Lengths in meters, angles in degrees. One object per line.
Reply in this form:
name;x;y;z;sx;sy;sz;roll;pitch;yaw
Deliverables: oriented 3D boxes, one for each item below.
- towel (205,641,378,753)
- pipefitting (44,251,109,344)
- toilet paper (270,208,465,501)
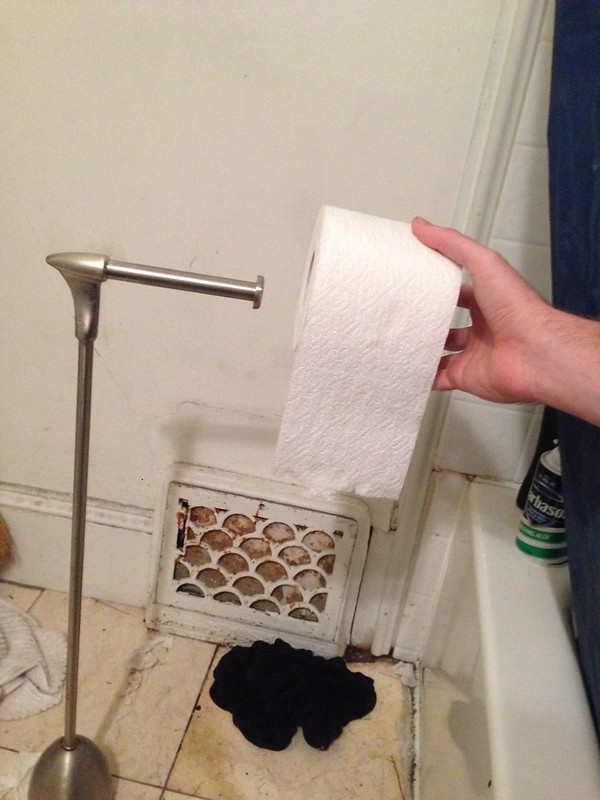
towel;-0.021;0.421;1.208;0.245;0.044;0.222;0;25;-9
pipefitting;-0.227;-0.102;0.823;0.036;0.111;0.067;-25;49;-38
toilet paper;0.063;-0.043;0.780;0.134;0.244;0.162;11;36;0
